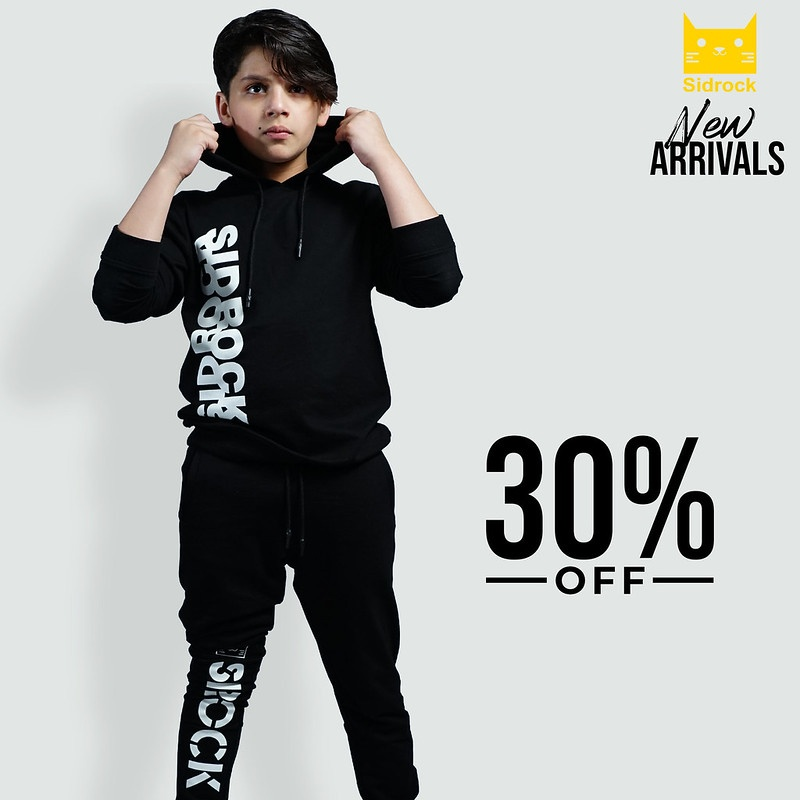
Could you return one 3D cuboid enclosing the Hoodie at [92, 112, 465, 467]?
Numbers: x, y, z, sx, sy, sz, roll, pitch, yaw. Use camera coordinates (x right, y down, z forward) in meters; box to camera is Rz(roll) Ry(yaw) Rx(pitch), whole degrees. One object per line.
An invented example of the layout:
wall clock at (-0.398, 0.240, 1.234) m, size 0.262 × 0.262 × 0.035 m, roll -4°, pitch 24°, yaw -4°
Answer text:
Hoodie at (-0.246, -0.233, 2.615) m, size 0.781 × 0.767 × 0.489 m, roll 2°, pitch -8°, yaw -3°
